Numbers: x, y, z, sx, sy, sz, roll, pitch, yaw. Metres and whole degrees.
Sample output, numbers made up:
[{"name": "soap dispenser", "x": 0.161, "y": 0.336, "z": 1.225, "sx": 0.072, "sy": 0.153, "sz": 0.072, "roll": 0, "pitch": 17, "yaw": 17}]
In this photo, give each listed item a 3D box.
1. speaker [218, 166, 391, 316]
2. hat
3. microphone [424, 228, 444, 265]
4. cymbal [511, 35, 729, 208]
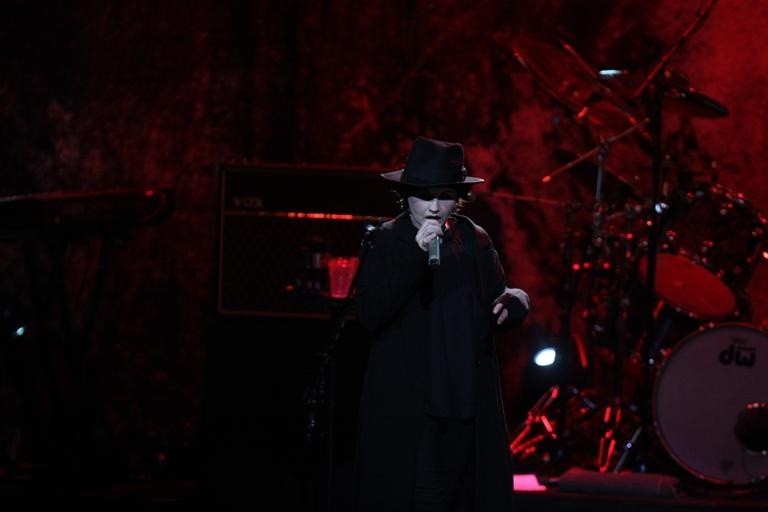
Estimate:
[{"name": "speaker", "x": -0.406, "y": -0.118, "z": 4.572, "sx": 1.404, "sy": 1.240, "sz": 0.819, "roll": 1, "pitch": -7, "yaw": -3}, {"name": "hat", "x": 0.219, "y": -0.497, "z": 3.555, "sx": 0.437, "sy": 0.193, "sz": 0.492, "roll": 5, "pitch": -2, "yaw": -2}, {"name": "microphone", "x": 0.223, "y": -0.023, "z": 3.051, "sx": 0.059, "sy": 0.144, "sz": 0.158, "roll": 4, "pitch": -6, "yaw": 6}, {"name": "cymbal", "x": 1.389, "y": -1.012, "z": 4.403, "sx": 1.096, "sy": 0.574, "sz": 1.003, "roll": 30, "pitch": -2, "yaw": 7}]
